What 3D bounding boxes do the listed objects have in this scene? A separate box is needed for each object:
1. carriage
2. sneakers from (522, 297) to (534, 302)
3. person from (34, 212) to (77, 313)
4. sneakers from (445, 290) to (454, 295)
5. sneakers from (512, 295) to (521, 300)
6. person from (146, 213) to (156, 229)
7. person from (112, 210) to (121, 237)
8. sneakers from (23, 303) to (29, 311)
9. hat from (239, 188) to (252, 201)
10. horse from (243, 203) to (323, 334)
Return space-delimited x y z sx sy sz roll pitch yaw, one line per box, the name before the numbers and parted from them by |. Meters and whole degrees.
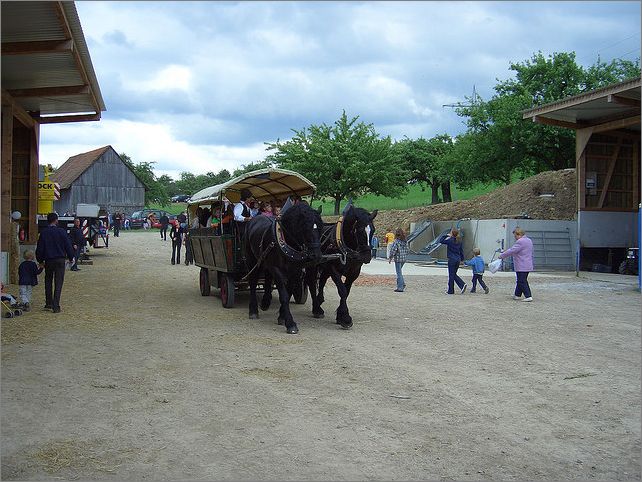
carriage | -1.211 0.075 12.397 1.853 2.991 5.774 0 1 -31
sneakers | 5.272 1.478 14.395 0.098 0.121 0.279 2 -1 -18
person | -5.474 0.435 11.679 0.682 2.025 1.077 -3 10 -25
sneakers | 3.589 1.439 15.759 0.214 0.151 0.073 0 7 -22
sneakers | 5.100 1.459 14.692 0.114 0.069 0.183 2 -3 -21
person | -14.120 -1.665 46.914 0.599 1.224 0.425 -3 10 -26
person | -13.744 -1.076 38.053 0.349 1.453 1.756 -2 9 -18
sneakers | -5.970 1.331 11.464 0.165 0.207 0.081 1 -1 -9
hat | -1.676 -1.042 12.693 0.311 0.296 0.229 -6 0 38
horse | -0.877 0.418 11.213 0.886 2.447 3.468 -2 4 -26
